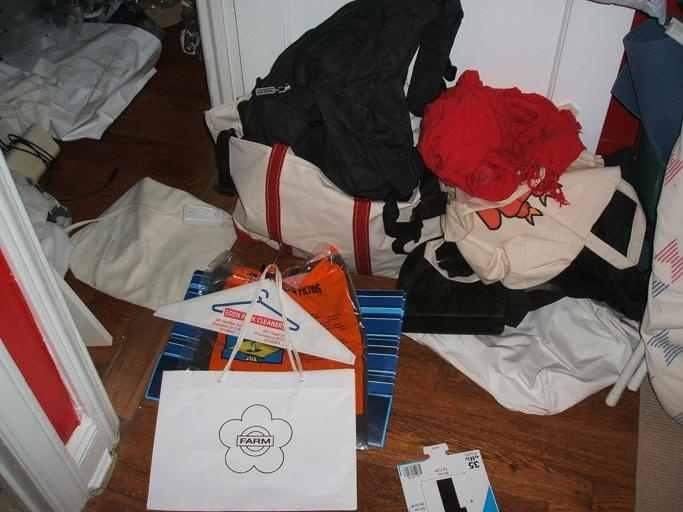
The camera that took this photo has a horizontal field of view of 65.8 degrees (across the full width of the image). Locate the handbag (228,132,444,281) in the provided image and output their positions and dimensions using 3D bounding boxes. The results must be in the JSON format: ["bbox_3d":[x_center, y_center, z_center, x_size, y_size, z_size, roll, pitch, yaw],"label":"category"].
[{"bbox_3d":[-0.038,-0.119,1.903,0.710,0.478,0.368,21,80,9],"label":"handbag"}]
